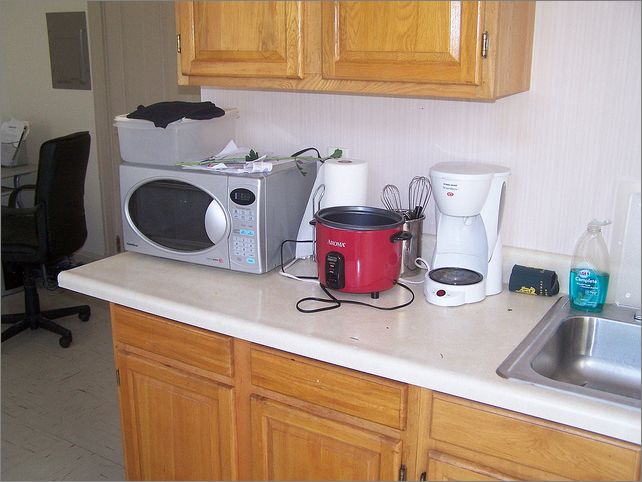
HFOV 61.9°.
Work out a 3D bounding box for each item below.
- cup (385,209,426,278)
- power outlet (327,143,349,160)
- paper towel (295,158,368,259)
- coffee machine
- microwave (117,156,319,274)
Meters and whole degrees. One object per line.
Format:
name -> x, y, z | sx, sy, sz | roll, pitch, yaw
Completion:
cup -> 0.301, 0.010, 1.908 | 0.130, 0.215, 0.122 | -1, 11, 0
power outlet -> 0.063, -0.340, 2.056 | 0.113, 0.065, 0.077 | 4, 8, 38
paper towel -> 0.038, -0.148, 2.015 | 0.249, 0.356, 0.242 | -2, 17, -4
coffee machine -> 0.468, -0.029, 1.758 | 0.264, 0.426, 0.251 | -14, 19, -42
microwave -> -0.394, -0.131, 2.052 | 0.624, 0.349, 0.461 | 10, 18, 23
